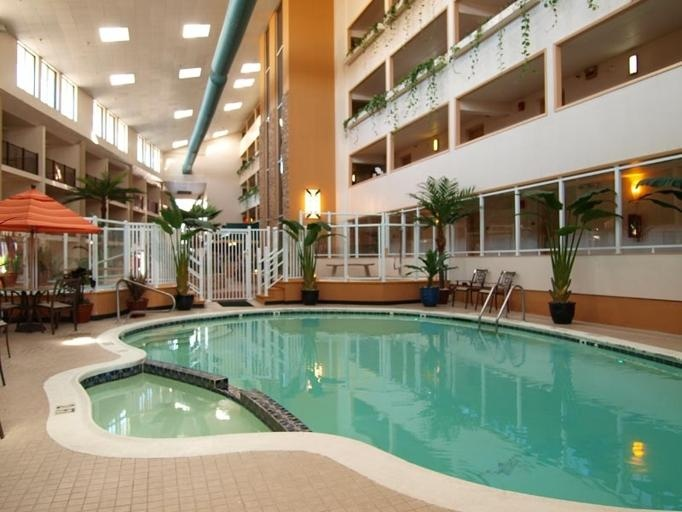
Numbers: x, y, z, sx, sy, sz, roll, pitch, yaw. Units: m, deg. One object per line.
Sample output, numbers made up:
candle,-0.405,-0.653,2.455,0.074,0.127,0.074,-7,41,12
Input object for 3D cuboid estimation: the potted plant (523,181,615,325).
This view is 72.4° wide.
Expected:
potted plant,5.312,-0.064,10.747,1.897,3.146,3.060,-1,-2,22

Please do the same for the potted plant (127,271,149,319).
potted plant,-5.406,0.988,12.391,0.504,1.154,1.889,1,-3,-25

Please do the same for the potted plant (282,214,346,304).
potted plant,-1.061,0.138,15.081,2.706,2.998,2.354,0,-6,0
